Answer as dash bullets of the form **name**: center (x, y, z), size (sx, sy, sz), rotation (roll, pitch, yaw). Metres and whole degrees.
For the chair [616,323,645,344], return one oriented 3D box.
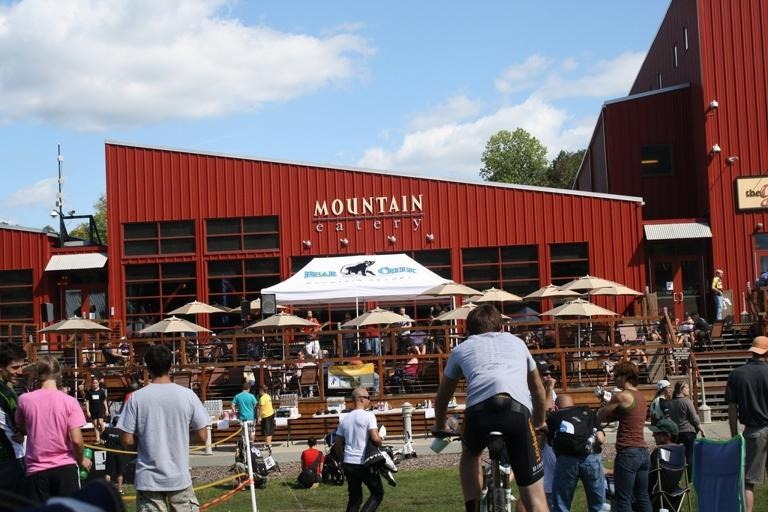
- **chair**: center (8.465, 2.673, 39.764), size (0.591, 0.523, 0.981), rotation (-1, -4, -7)

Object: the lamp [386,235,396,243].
- **lamp**: center (0.301, -0.659, 45.838), size (0.238, 0.329, 0.318), rotation (-1, 11, 11)

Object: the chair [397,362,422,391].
- **chair**: center (0.840, 3.989, 37.845), size (0.837, 1.176, 0.807), rotation (0, -3, 0)

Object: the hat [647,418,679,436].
- **hat**: center (6.796, 4.126, 28.145), size (0.571, 0.322, 0.409), rotation (5, -7, 4)

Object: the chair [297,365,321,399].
- **chair**: center (-2.349, 4.063, 37.854), size (0.942, 1.318, 0.945), rotation (1, -9, -10)

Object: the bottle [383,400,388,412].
- **bottle**: center (0.070, 4.714, 36.520), size (0.193, 0.358, 0.190), rotation (-1, 7, 0)

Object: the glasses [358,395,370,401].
- **glasses**: center (-0.470, 3.450, 28.268), size (0.104, 0.115, 0.290), rotation (-9, -8, 28)

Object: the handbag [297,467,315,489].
- **handbag**: center (-2.087, 6.060, 31.755), size (0.353, 0.263, 0.506), rotation (27, 26, 6)

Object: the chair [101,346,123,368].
- **chair**: center (-9.342, 3.481, 40.316), size (0.576, 0.643, 0.710), rotation (2, -10, -6)

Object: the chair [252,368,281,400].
- **chair**: center (-3.792, 4.195, 37.847), size (0.930, 1.284, 1.014), rotation (1, 1, 11)

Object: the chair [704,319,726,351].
- **chair**: center (11.548, 2.753, 40.710), size (0.746, 1.169, 0.911), rotation (1, -1, -6)

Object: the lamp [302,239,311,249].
- **lamp**: center (-3.026, -0.449, 46.050), size (0.319, 0.303, 0.157), rotation (0, 4, 9)

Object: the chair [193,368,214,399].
- **chair**: center (-5.939, 4.196, 38.390), size (0.917, 0.426, 0.925), rotation (-10, 0, -5)

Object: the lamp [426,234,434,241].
- **lamp**: center (1.829, -0.730, 45.604), size (0.191, 0.250, 0.216), rotation (9, -33, -4)

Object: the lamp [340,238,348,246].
- **lamp**: center (-1.521, -0.525, 46.031), size (0.331, 0.347, 0.148), rotation (-4, -7, -9)

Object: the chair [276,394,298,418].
- **chair**: center (-2.962, 4.662, 36.283), size (0.670, 0.677, 0.632), rotation (-3, -10, 9)
